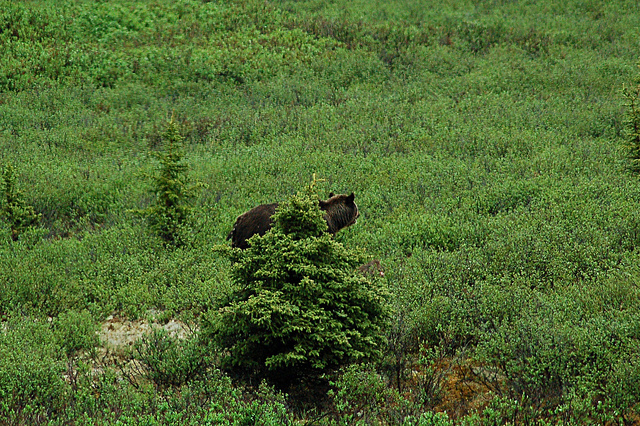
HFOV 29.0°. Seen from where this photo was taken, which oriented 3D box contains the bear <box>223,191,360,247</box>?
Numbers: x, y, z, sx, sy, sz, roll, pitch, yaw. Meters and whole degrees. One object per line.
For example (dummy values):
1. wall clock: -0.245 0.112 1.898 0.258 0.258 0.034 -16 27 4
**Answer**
1. bear: -1.146 0.293 48.824 5.075 2.620 4.334 -3 20 -5
